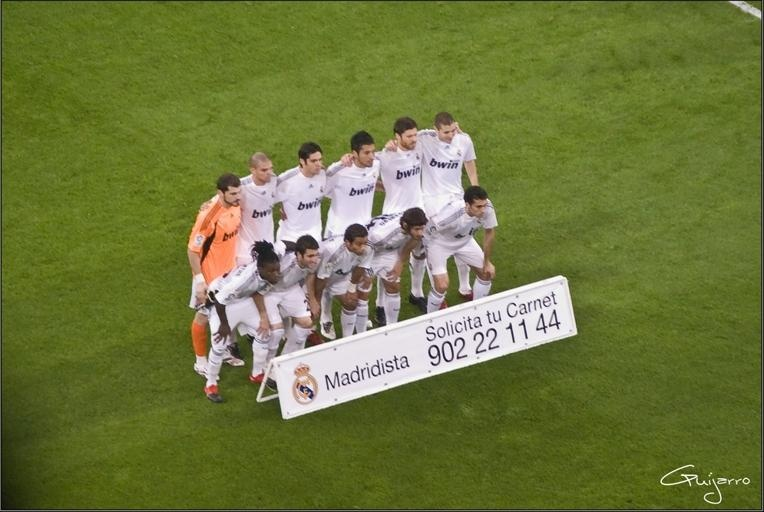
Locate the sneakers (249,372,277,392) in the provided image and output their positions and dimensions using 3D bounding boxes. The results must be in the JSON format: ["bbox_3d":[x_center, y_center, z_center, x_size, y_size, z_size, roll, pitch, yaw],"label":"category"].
[{"bbox_3d":[-1.866,2.011,19.083,0.558,0.227,0.201,16,37,25],"label":"sneakers"}]

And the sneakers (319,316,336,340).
[{"bbox_3d":[-0.912,1.226,19.794,0.190,0.172,0.408,-16,60,-22],"label":"sneakers"}]

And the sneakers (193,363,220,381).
[{"bbox_3d":[-2.809,1.851,19.216,0.522,0.182,0.229,20,119,32],"label":"sneakers"}]

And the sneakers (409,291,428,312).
[{"bbox_3d":[0.593,0.763,20.264,0.407,0.157,0.174,37,116,17],"label":"sneakers"}]

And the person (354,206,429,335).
[{"bbox_3d":[0.119,0.235,19.348,1.099,2.690,1.180,-17,41,-24],"label":"person"}]

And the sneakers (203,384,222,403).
[{"bbox_3d":[-2.685,2.149,19.018,0.337,0.191,0.202,26,122,42],"label":"sneakers"}]

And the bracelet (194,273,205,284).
[{"bbox_3d":[-2.840,0.361,18.624,0.147,0.142,0.132,-4,98,-1],"label":"bracelet"}]

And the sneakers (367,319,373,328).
[{"bbox_3d":[-0.213,1.125,19.881,0.101,0.040,0.127,-8,91,-36],"label":"sneakers"}]
